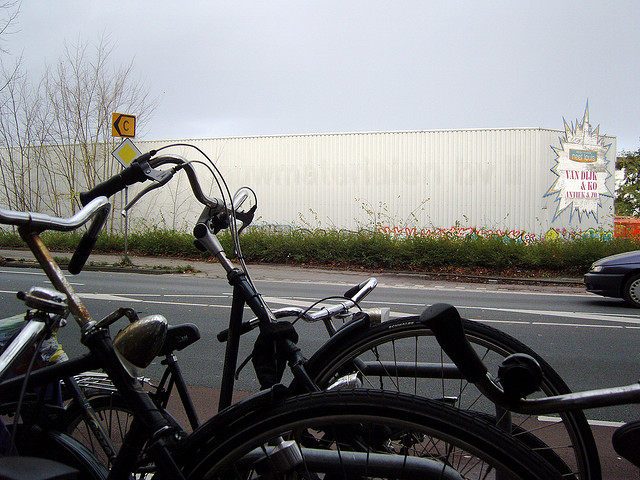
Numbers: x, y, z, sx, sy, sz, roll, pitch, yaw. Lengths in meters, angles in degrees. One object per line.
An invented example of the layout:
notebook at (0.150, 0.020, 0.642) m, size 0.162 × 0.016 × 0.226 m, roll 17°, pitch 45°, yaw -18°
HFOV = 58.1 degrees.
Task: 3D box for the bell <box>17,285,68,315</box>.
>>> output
bell at (-0.984, 0.214, 2.062) m, size 0.150 × 0.089 × 0.130 m, roll 12°, pitch -6°, yaw -9°

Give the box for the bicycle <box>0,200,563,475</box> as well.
bicycle at (-0.302, 0.390, 2.521) m, size 2.065 × 1.454 × 1.121 m, roll -5°, pitch -5°, yaw 8°
